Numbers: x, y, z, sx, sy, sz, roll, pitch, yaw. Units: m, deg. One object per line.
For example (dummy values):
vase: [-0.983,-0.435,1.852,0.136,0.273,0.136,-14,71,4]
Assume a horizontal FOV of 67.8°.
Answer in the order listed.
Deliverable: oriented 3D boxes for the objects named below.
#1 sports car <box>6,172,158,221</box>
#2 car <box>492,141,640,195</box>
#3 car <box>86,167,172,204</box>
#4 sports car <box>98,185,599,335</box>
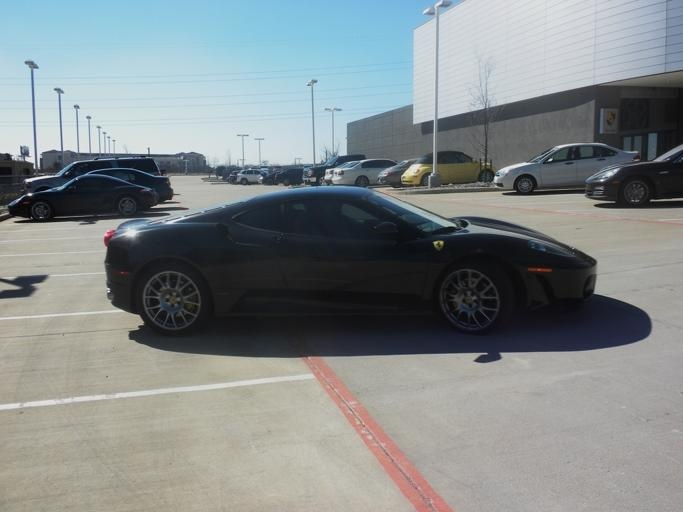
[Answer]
sports car: [-9.097,-1.973,18.183,4.331,1.086,2.002,0,3,-8]
car: [8.865,-3.406,20.271,5.654,1.479,2.135,0,6,8]
car: [-8.870,-2.928,21.465,3.621,0.967,1.513,3,10,-18]
sports car: [0.009,0.190,5.828,4.814,1.104,1.990,-2,7,3]
